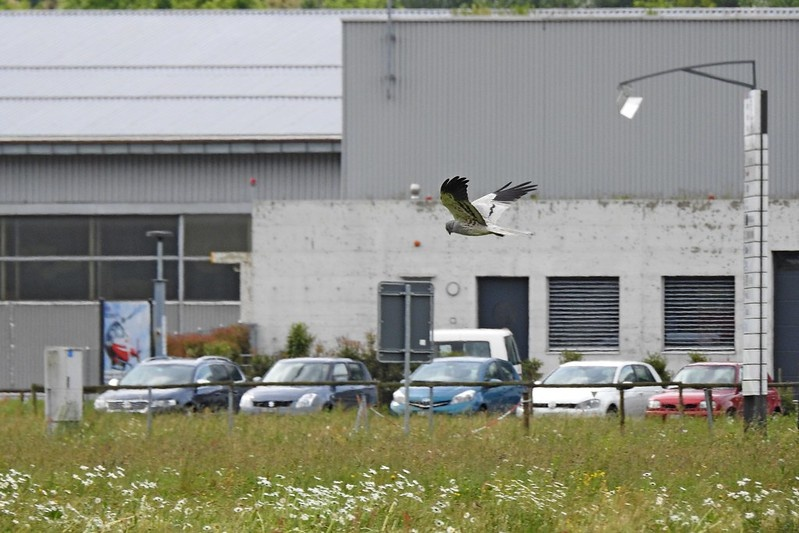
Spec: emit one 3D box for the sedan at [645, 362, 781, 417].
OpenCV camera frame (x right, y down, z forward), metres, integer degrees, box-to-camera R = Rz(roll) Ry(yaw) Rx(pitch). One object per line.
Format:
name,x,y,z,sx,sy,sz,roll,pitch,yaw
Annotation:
sedan,11.109,4.238,88.007,2.269,1.487,3.830,-6,-9,41

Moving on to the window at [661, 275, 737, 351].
window,11.996,1.881,97.316,3.256,3.045,0.266,-1,-4,3

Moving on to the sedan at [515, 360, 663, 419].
sedan,7.284,4.339,88.145,2.175,1.498,4.833,-5,-7,35

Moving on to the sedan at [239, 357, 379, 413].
sedan,-2.922,4.160,87.639,2.239,1.613,3.676,-5,-11,31

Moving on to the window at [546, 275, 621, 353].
window,7.471,1.942,97.646,3.391,3.045,0.266,0,-5,-1
